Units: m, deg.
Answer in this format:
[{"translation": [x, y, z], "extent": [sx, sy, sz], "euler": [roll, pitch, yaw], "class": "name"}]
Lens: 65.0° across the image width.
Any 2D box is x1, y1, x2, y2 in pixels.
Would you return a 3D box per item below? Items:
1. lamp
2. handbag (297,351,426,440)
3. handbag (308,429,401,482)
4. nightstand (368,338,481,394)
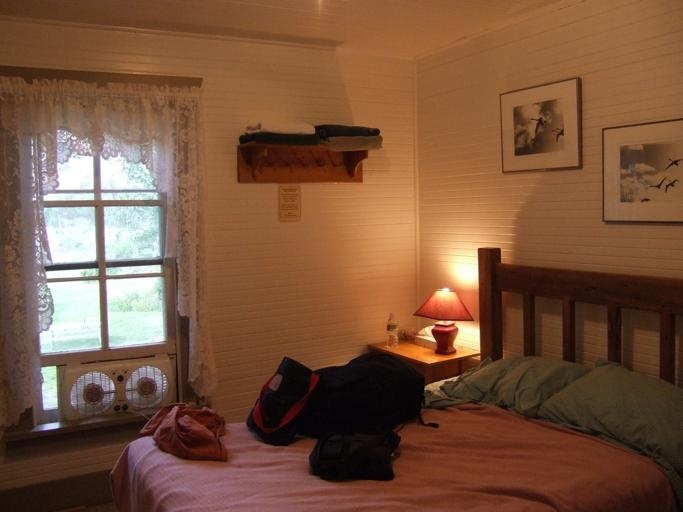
[{"translation": [0.870, 0.533, 4.435], "extent": [0.531, 0.510, 0.514], "euler": [3, -2, -6], "class": "lamp"}, {"translation": [0.152, 0.860, 3.363], "extent": [0.630, 0.218, 0.429], "euler": [-5, 2, -35], "class": "handbag"}, {"translation": [0.073, 1.072, 2.903], "extent": [0.485, 0.159, 0.306], "euler": [-1, 12, 3], "class": "handbag"}, {"translation": [0.618, 0.991, 4.556], "extent": [0.450, 0.413, 0.738], "euler": [-4, 8, -37], "class": "nightstand"}]
